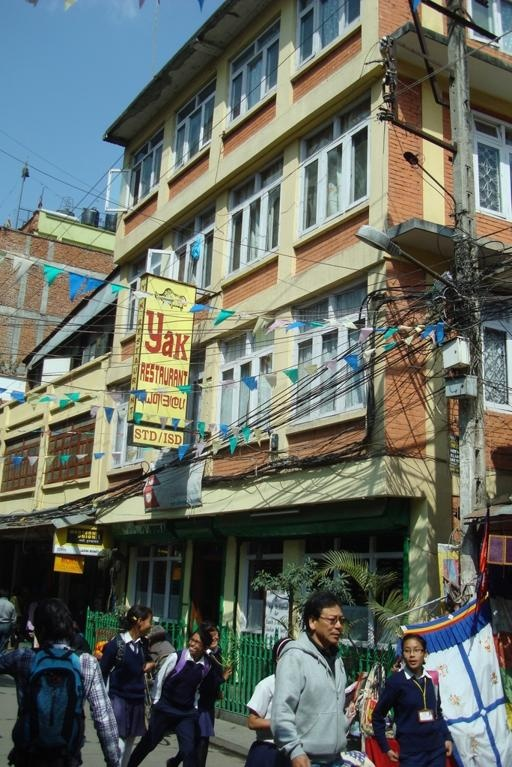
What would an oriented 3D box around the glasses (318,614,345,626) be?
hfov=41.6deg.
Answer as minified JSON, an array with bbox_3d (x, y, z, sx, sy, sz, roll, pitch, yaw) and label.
[{"bbox_3d":[0.331,1.097,3.134,0.095,0.028,0.093,12,-25,-29],"label":"glasses"}]
